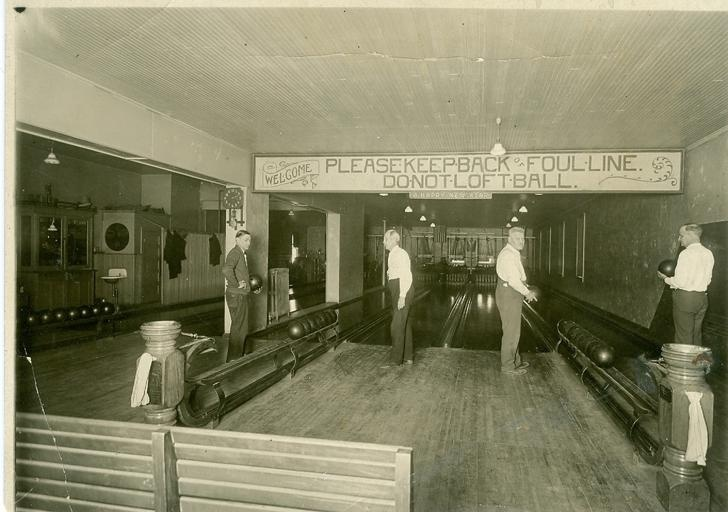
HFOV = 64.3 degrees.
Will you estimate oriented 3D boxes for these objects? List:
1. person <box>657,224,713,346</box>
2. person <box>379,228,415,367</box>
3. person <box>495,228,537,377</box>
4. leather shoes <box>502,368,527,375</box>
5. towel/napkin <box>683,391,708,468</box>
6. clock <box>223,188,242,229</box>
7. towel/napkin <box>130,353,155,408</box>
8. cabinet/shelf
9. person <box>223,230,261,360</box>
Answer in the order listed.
[{"bbox_3d":[3.969,0.347,7.033,0.521,1.483,0.748,-1,-2,32],"label":"person"},{"bbox_3d":[0.493,0.551,8.060,0.387,1.835,1.091,0,-1,3],"label":"person"},{"bbox_3d":[1.990,0.561,7.518,0.464,1.875,0.991,0,-1,15],"label":"person"},{"bbox_3d":[1.961,1.471,7.436,0.280,0.125,0.112,-2,1,10],"label":"leather shoes"},{"bbox_3d":[2.753,1.418,4.749,0.183,0.622,0.095,1,-1,-21],"label":"towel/napkin"},{"bbox_3d":[-2.043,-0.766,9.102,0.295,0.656,0.263,1,-1,-11],"label":"clock"},{"bbox_3d":[-1.901,1.053,4.945,0.167,0.480,0.208,1,-2,-25],"label":"towel/napkin"},{"bbox_3d":[-5.634,0.002,10.572,0.508,1.855,1.506,0,-2,28],"label":"cabinet/shelf"},{"bbox_3d":[-1.665,0.498,7.495,0.334,1.667,0.256,1,-1,-15],"label":"person"}]
